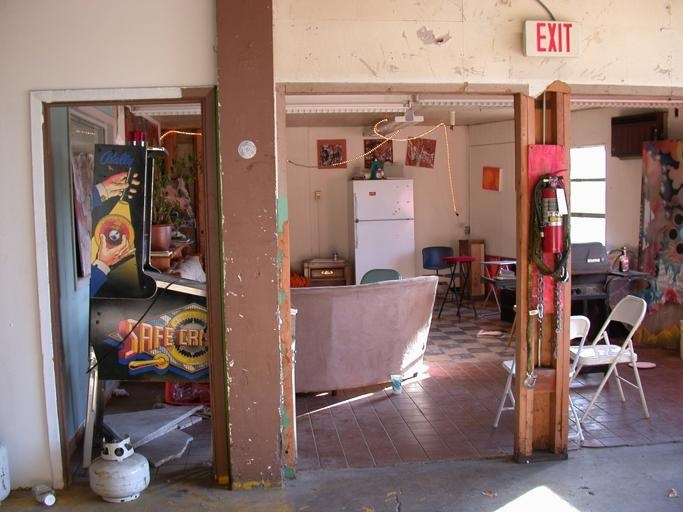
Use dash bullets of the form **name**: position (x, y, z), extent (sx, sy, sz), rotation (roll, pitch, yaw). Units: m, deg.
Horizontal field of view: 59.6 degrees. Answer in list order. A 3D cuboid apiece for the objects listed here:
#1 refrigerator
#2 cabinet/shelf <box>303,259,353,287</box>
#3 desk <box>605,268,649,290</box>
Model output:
- **refrigerator**: position (0.742, -0.563, 11.067), extent (1.022, 1.952, 1.091), rotation (-2, 9, -12)
- **cabinet/shelf**: position (-0.240, 0.280, 10.992), extent (0.686, 0.736, 0.505), rotation (-1, 5, -6)
- **desk**: position (3.901, 0.295, 8.012), extent (0.408, 0.220, 0.305), rotation (-1, 3, -14)
